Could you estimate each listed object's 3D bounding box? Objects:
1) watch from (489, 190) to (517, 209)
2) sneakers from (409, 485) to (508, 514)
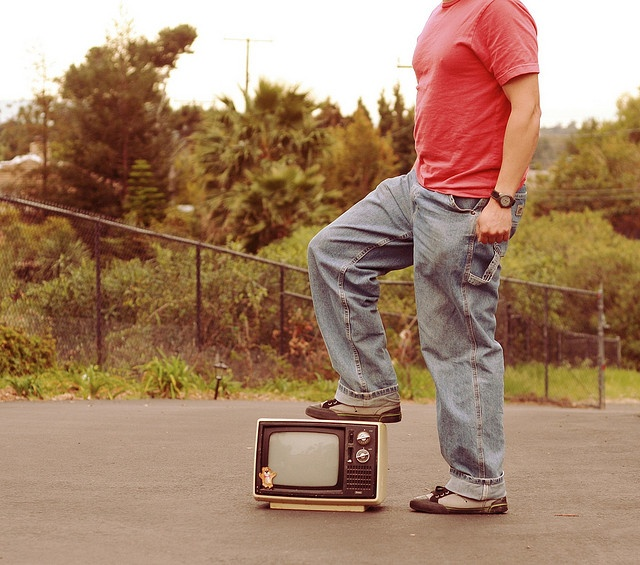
[{"bbox_3d":[0.711,-0.319,4.006,0.075,0.065,0.076,10,3,0],"label":"watch"},{"bbox_3d":[0.559,0.865,4.199,0.391,0.193,0.142,3,-11,5],"label":"sneakers"}]
